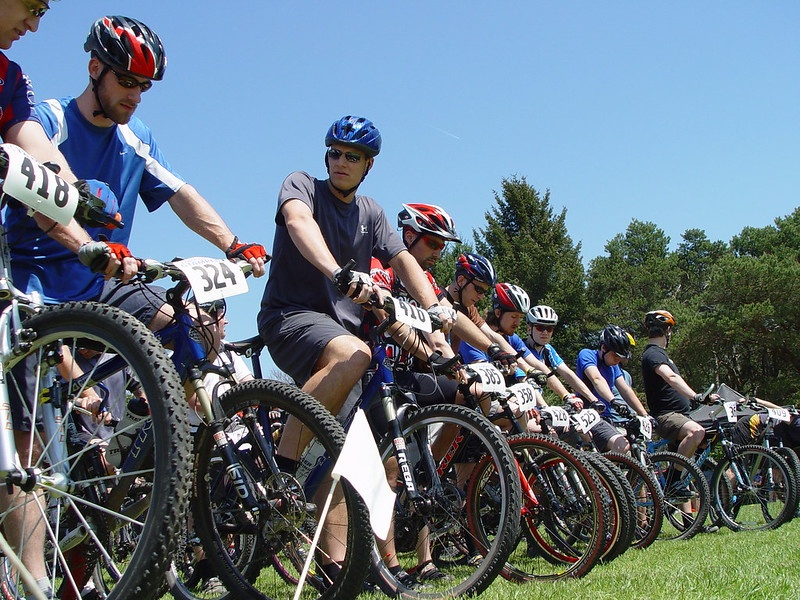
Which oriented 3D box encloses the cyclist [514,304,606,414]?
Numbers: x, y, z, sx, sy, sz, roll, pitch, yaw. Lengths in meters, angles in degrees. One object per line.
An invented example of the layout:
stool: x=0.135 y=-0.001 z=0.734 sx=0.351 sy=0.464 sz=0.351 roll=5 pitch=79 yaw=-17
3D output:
cyclist: x=2.058 y=0.739 z=8.552 sx=0.672 sy=1.223 sz=1.495 roll=0 pitch=3 yaw=-28

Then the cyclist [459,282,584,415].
cyclist: x=1.413 y=0.496 z=7.723 sx=0.943 sy=1.458 sz=1.511 roll=4 pitch=-8 yaw=-33

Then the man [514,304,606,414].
man: x=2.064 y=0.752 z=8.574 sx=0.679 sy=1.222 sz=1.478 roll=-2 pitch=7 yaw=-30

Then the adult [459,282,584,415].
adult: x=1.531 y=0.478 z=7.780 sx=1.580 sy=1.553 sz=1.055 roll=-16 pitch=-5 yaw=26

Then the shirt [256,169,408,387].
shirt: x=-0.497 y=-0.081 z=4.572 sx=0.701 sy=1.460 sz=1.024 roll=-12 pitch=-25 yaw=37

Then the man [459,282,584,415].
man: x=1.397 y=0.520 z=7.705 sx=1.582 sy=1.481 sz=1.150 roll=7 pitch=6 yaw=41

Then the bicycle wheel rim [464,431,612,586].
bicycle wheel rim: x=1.184 y=1.850 z=5.734 sx=1.277 sy=1.584 sz=0.510 roll=-2 pitch=20 yaw=22

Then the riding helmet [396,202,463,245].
riding helmet: x=0.296 y=-0.852 z=6.904 sx=0.767 sy=0.364 sz=0.647 roll=11 pitch=5 yaw=29

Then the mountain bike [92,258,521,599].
mountain bike: x=-0.602 y=0.879 z=4.024 sx=2.299 sy=1.803 sz=1.202 roll=-9 pitch=-15 yaw=37

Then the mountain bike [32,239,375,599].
mountain bike: x=-1.086 y=0.944 z=3.844 sx=1.245 sy=1.859 sz=2.548 roll=6 pitch=-29 yaw=-42

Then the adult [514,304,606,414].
adult: x=2.050 y=0.730 z=8.554 sx=0.680 sy=1.229 sz=1.491 roll=2 pitch=3 yaw=-28

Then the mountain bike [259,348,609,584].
mountain bike: x=0.167 y=1.813 z=5.702 sx=1.380 sy=1.992 sz=2.765 roll=7 pitch=-25 yaw=-46

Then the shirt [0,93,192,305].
shirt: x=-1.858 y=-0.547 z=3.749 sx=0.562 sy=1.209 sz=0.983 roll=4 pitch=-10 yaw=28

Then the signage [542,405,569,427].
signage: x=1.615 y=1.282 z=6.775 sx=0.189 sy=0.080 sz=0.285 roll=22 pitch=14 yaw=-25

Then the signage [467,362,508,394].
signage: x=0.680 y=0.605 z=5.077 sx=0.075 sy=0.257 sz=0.248 roll=-35 pitch=-9 yaw=24

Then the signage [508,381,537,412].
signage: x=1.095 y=0.853 z=5.758 sx=0.186 sy=0.312 sz=0.367 roll=-4 pitch=-2 yaw=37

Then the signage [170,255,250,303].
signage: x=-1.031 y=-0.106 z=3.474 sx=0.213 sy=0.076 sz=0.230 roll=2 pitch=32 yaw=-47

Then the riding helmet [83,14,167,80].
riding helmet: x=-1.779 y=-1.664 z=4.253 sx=0.646 sy=0.421 sz=0.486 roll=15 pitch=15 yaw=40

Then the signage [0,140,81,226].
signage: x=-1.731 y=-0.531 z=3.154 sx=0.112 sy=0.309 sz=0.394 roll=-15 pitch=-37 yaw=34

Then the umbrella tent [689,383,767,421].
umbrella tent: x=5.131 y=1.761 z=10.657 sx=0.818 sy=0.422 sz=0.906 roll=2 pitch=-12 yaw=-13
